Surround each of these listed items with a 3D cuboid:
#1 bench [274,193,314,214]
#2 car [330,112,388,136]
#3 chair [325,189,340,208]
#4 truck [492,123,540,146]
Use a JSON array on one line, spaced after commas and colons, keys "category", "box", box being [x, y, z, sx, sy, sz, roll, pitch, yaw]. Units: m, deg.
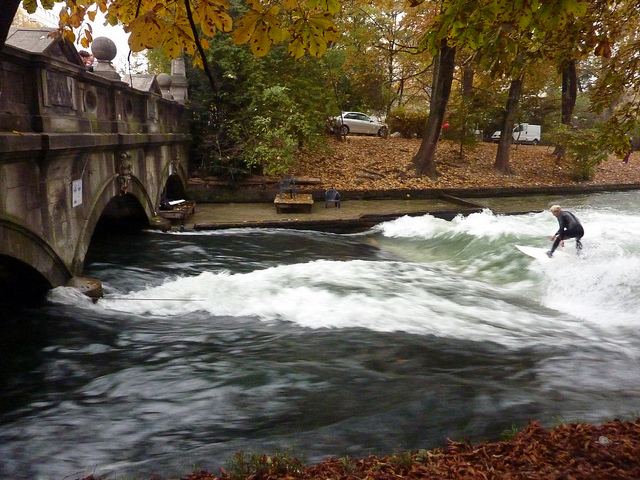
[{"category": "bench", "box": [-0.999, -1.386, 18.378, 1.397, 0.659, 1.497, -3, 11, -5]}, {"category": "car", "box": [2.362, -7.615, 31.145, 4.769, 1.085, 1.684, -2, 13, -20]}, {"category": "chair", "box": [0.513, -1.670, 19.341, 0.984, 0.877, 0.782, 0, 4, -1]}, {"category": "truck", "box": [14.714, -7.768, 35.536, 4.162, 1.572, 3.576, -3, 11, -2]}]
